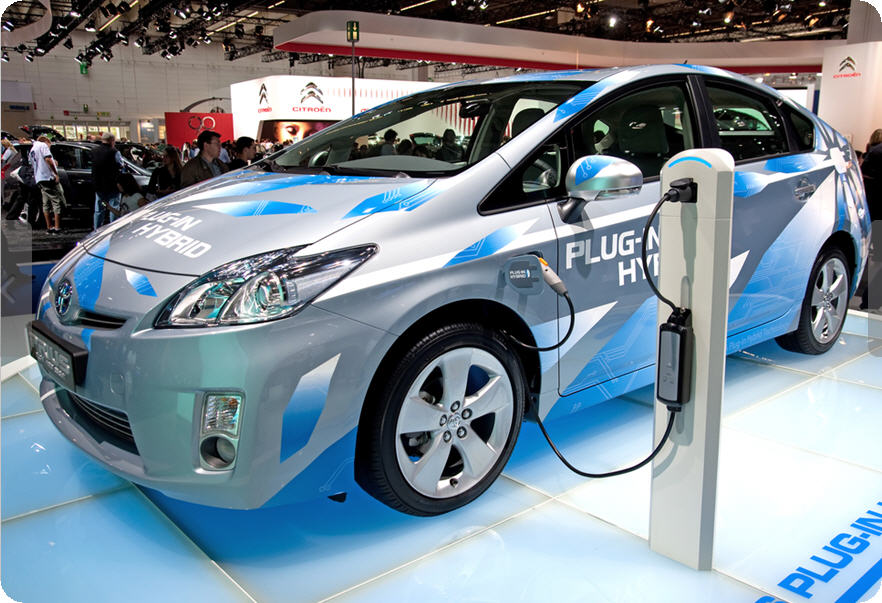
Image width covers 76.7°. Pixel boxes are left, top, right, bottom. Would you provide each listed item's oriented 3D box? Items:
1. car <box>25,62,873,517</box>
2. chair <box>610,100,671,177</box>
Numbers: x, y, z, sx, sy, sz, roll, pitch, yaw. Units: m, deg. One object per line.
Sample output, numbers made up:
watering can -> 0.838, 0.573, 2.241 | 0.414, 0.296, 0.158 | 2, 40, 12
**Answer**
car -> 0.300, -0.103, 3.016 | 3.806, 1.469, 2.157 | -8, 12, -31
chair -> 1.108, -0.958, 2.967 | 0.274, 0.399, 0.340 | 13, 57, 32
